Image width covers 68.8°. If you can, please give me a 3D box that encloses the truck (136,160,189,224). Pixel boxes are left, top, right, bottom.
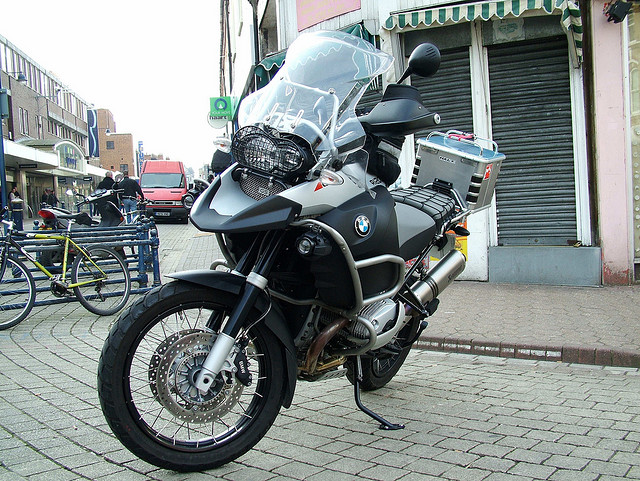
[{"bbox_3d":[-8.881,-3.157,26.850,2.525,3.149,6.173,-1,15,-15],"label":"truck"}]

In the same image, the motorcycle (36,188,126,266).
[{"bbox_3d":[-4.436,-0.275,8.926,1.089,1.325,2.105,4,11,24],"label":"motorcycle"}]
